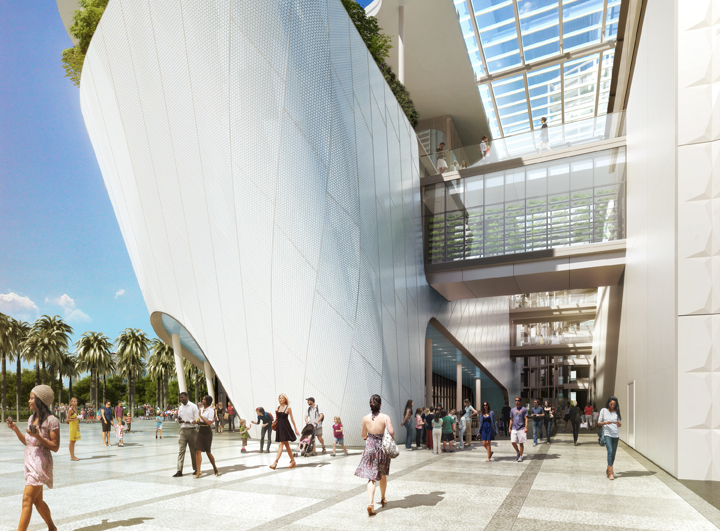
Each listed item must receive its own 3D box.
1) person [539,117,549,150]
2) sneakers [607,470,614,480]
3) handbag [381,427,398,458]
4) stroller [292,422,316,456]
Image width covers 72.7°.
[{"bbox_3d":[8.840,-6.187,23.368,0.426,1.280,0.342,-4,-8,9],"label":"person"},{"bbox_3d":[6.423,5.373,12.491,0.147,0.246,0.366,-7,-10,24],"label":"sneakers"},{"bbox_3d":[0.586,3.591,9.782,0.291,0.616,0.825,-3,-10,1],"label":"handbag"},{"bbox_3d":[-1.696,5.660,15.592,0.621,1.221,0.515,-2,-9,42],"label":"stroller"}]
